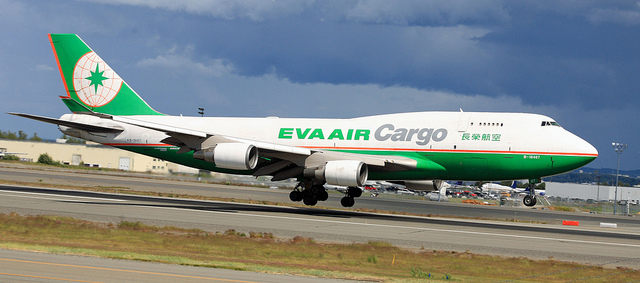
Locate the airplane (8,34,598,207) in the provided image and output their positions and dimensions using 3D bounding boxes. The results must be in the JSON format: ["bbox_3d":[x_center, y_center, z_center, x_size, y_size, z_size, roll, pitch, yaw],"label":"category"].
[{"bbox_3d":[-1.477,-1.850,100.047,73.859,21.252,8.810,5,1,1],"label":"airplane"}]

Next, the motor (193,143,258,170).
[{"bbox_3d":[-12.087,1.675,98.883,7.899,2.550,2.752,-1,15,10],"label":"motor"}]

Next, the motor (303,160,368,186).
[{"bbox_3d":[2.048,3.976,98.247,8.250,2.575,3.458,-1,3,23],"label":"motor"}]
